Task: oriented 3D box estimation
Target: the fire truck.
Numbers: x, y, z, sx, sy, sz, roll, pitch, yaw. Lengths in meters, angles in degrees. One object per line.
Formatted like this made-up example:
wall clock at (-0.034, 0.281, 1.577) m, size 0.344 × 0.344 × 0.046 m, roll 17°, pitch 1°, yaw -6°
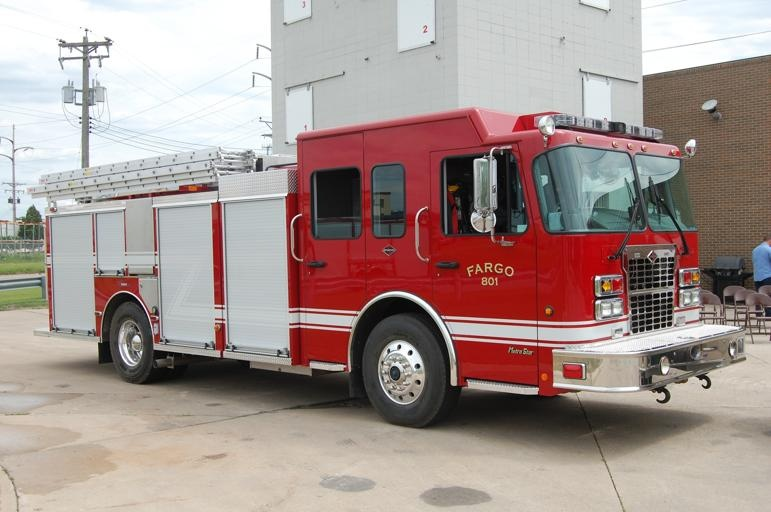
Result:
fire truck at (-0.802, 0.099, 12.393) m, size 12.058 × 3.713 × 3.944 m, roll -1°, pitch 0°, yaw 40°

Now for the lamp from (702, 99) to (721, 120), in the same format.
lamp at (10.243, -4.644, 22.336) m, size 0.523 × 0.502 × 0.575 m, roll -5°, pitch -33°, yaw 44°
